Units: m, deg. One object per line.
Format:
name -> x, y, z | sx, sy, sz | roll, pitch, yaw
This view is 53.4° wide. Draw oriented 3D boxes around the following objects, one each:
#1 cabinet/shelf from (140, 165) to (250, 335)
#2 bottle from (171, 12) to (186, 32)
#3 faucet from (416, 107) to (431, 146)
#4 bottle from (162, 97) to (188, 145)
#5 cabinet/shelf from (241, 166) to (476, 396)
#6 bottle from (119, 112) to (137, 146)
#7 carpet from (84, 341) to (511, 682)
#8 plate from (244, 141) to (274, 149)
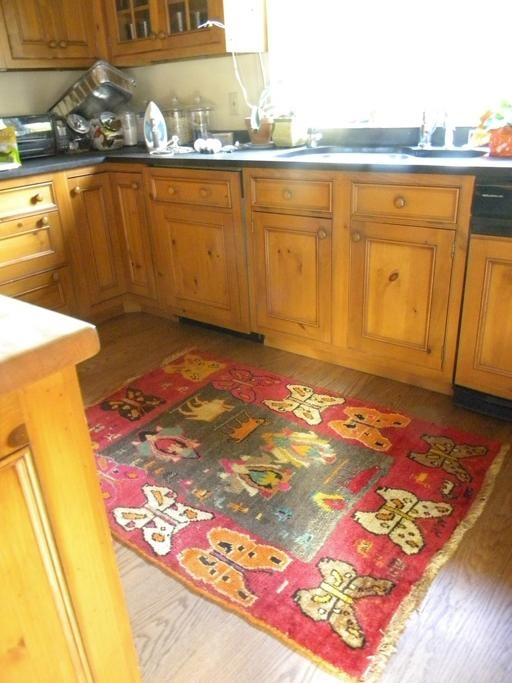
cabinet/shelf -> -0.303, -0.489, 2.633 | 0.604, 0.771, 0.514 | 18, 38, 26
bottle -> -0.400, -1.627, 2.622 | 0.048, 0.104, 0.098 | -16, 28, -24
faucet -> 0.749, -0.934, 2.262 | 0.050, 0.145, 0.125 | 4, 26, 16
bottle -> -0.485, -1.339, 3.109 | 0.140, 0.276, 0.351 | -7, 25, -7
cabinet/shelf -> 0.435, -0.258, 2.093 | 0.827, 0.720, 0.423 | 17, 38, 27
bottle -> -0.796, -1.323, 3.219 | 0.064, 0.193, 0.165 | 7, 27, 22
carpet -> 0.032, 0.413, 1.784 | 1.373, 0.042, 1.079 | 16, 30, 38
plate -> 0.007, -1.006, 2.644 | 0.151, 0.032, 0.174 | -2, 24, 2
